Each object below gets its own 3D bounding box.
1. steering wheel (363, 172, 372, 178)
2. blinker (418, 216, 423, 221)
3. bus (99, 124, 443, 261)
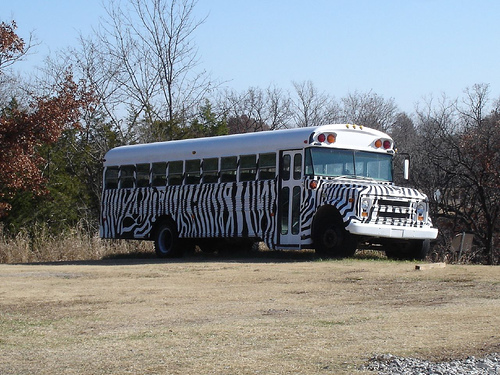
[{"bbox_3d":[3.296,-0.363,19.076,0.108,0.117,0.028,9,14,2],"label":"steering wheel"},{"bbox_3d":[4.547,0.836,18.003,0.176,0.120,0.021,5,-7,-39],"label":"blinker"},{"bbox_3d":[0.053,0.327,21.948,10.822,4.391,3.602,-3,-6,41],"label":"bus"}]
